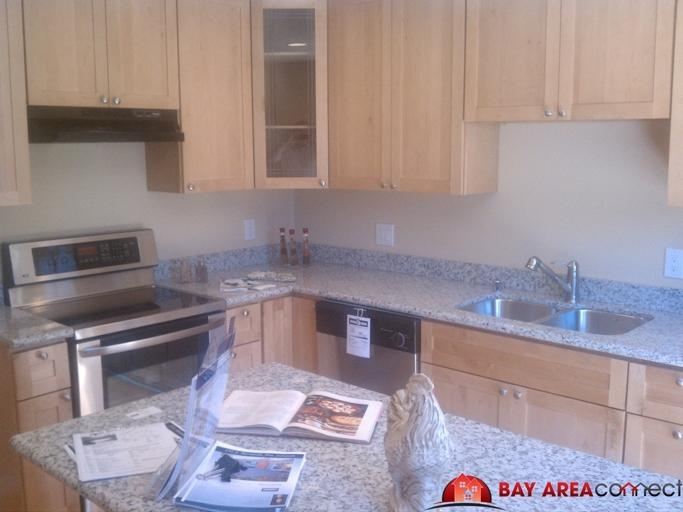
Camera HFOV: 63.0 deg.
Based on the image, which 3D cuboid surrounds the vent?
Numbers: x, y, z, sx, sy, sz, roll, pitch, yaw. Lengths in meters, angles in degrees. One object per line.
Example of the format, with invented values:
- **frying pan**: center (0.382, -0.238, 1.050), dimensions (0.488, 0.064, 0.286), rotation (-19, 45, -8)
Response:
- **vent**: center (-1.162, -0.664, 2.806), dimensions (0.742, 0.195, 0.202), rotation (-10, 14, -27)

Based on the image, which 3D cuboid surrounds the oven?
- **oven**: center (-0.966, 0.337, 2.683), dimensions (0.455, 0.428, 0.687), rotation (5, 12, 38)
